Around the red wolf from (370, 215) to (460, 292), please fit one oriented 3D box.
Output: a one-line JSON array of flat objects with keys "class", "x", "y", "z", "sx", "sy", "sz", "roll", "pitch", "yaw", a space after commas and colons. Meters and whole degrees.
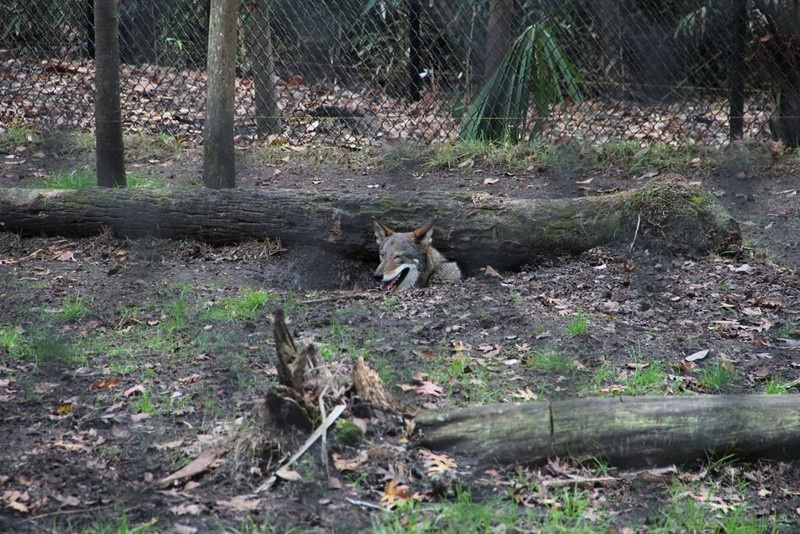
[{"class": "red wolf", "x": 0.255, "y": -0.125, "z": 11.710, "sx": 0.575, "sy": 1.003, "sz": 1.321, "roll": 2, "pitch": 17, "yaw": 42}]
